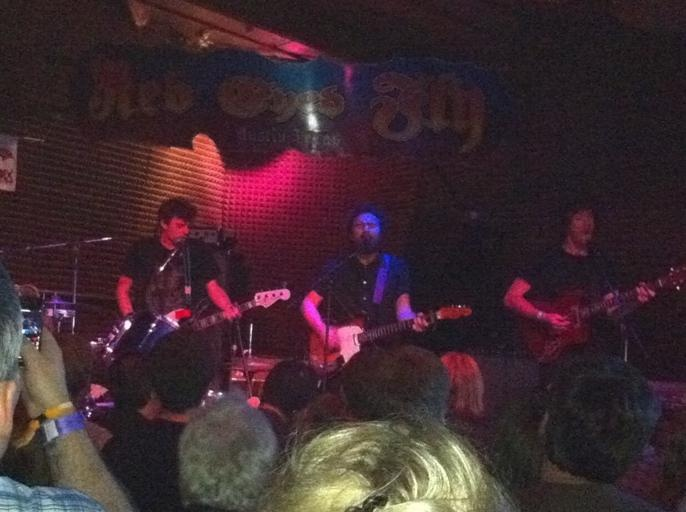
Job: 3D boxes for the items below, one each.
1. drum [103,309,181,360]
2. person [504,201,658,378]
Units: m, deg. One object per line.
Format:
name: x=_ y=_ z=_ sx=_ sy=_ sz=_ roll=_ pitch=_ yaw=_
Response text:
drum: x=-1.756 y=0.665 z=5.801 sx=0.499 sy=0.166 sz=0.635 roll=7 pitch=-26 yaw=13
person: x=2.152 y=0.048 z=6.101 sx=1.206 sy=2.204 sz=0.310 roll=19 pitch=-6 yaw=3
